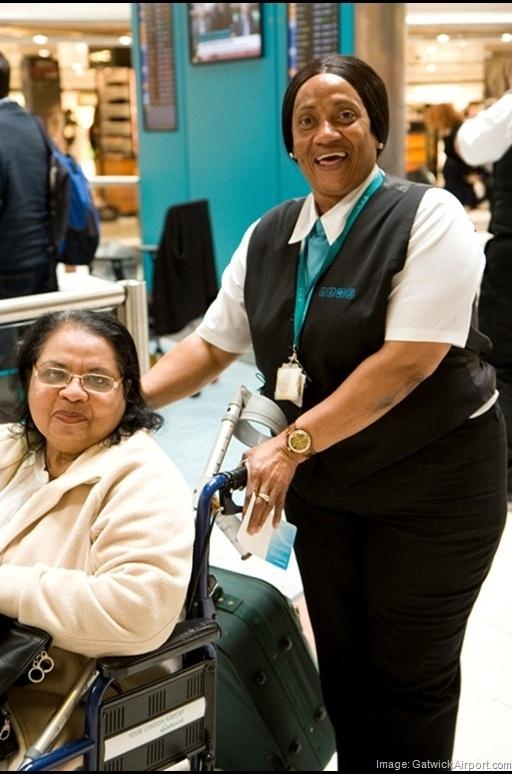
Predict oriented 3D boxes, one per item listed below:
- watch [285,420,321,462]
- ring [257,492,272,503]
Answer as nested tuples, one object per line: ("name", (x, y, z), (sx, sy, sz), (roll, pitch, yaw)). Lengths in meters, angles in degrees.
("watch", (0.076, 0.097, 1.149), (0.043, 0.061, 0.060), (-25, -14, -9))
("ring", (0.015, 0.192, 1.139), (0.019, 0.010, 0.014), (37, 0, 26))
